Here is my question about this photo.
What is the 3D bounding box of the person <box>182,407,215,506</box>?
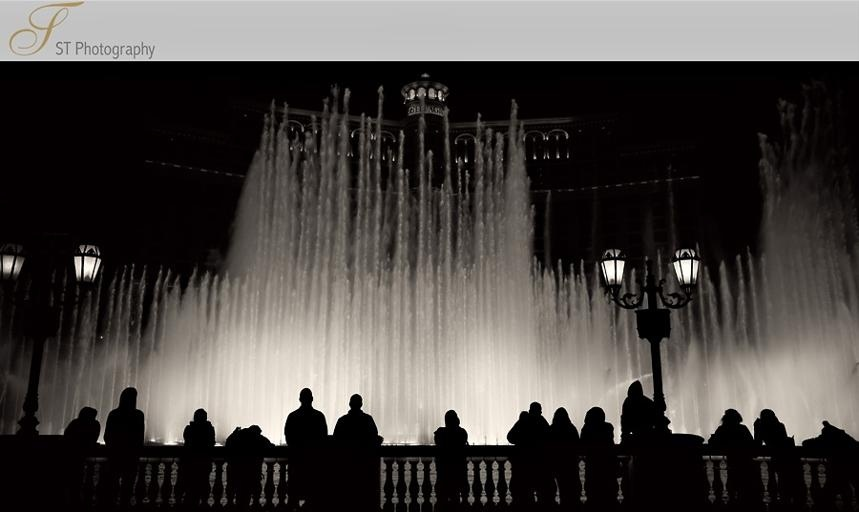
[{"bbox_3d":[-9.186,8.004,40.244,1.220,3.891,1.201,5,-17,-12],"label":"person"}]

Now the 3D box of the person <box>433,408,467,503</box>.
[{"bbox_3d":[0.887,8.018,40.151,1.273,3.813,0.752,1,-17,0],"label":"person"}]
